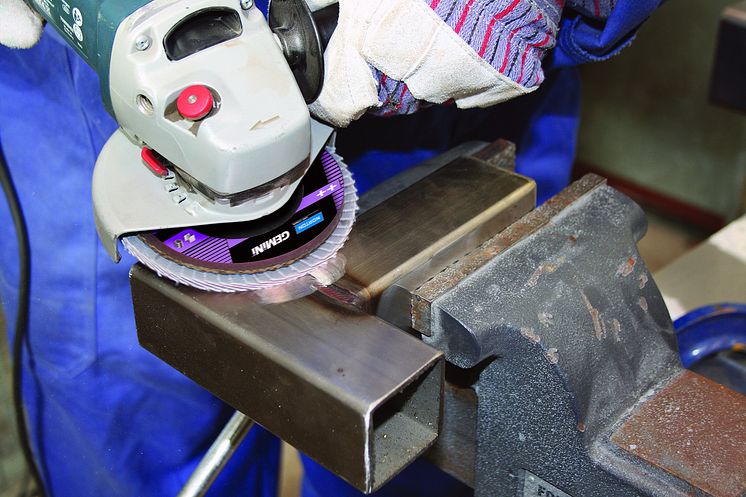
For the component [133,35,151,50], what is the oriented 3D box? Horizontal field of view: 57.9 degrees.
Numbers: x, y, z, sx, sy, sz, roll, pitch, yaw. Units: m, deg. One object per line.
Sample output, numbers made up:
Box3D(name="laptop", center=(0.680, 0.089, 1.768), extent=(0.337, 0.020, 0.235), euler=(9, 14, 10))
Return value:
Box3D(name="component", center=(-0.317, -0.284, 0.931), extent=(0.025, 0.013, 0.015), euler=(-35, 61, -12))
